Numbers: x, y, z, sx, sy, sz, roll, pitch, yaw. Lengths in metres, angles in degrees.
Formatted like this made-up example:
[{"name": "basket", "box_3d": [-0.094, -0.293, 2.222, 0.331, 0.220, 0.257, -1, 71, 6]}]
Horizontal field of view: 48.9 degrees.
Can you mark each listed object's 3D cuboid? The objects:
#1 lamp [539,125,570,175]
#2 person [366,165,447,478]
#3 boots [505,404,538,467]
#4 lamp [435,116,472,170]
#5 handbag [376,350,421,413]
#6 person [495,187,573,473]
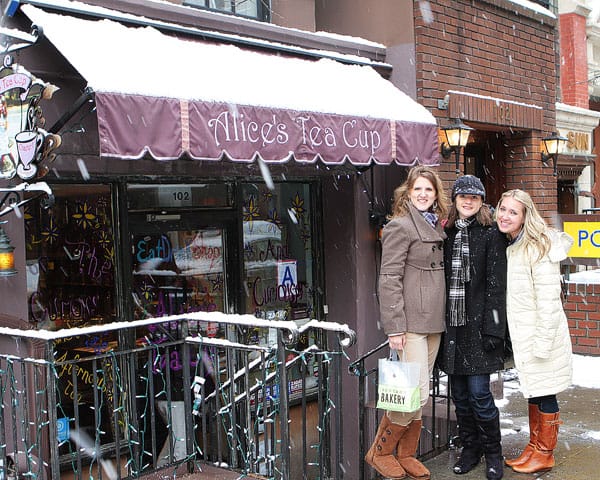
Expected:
[{"name": "lamp", "box_3d": [3.867, -1.295, 10.111, 0.308, 0.776, 0.349, -4, 5, -44]}, {"name": "person", "box_3d": [0.854, 0.636, 5.028, 0.737, 2.171, 0.471, -2, -1, -34]}, {"name": "boots", "box_3d": [1.739, 1.535, 5.034, 0.309, 0.570, 0.160, -3, 29, 8]}, {"name": "lamp", "box_3d": [2.022, -1.125, 8.443, 0.371, 0.892, 0.414, 1, 5, 0]}, {"name": "handbag", "box_3d": [0.708, 1.030, 4.805, 0.264, 0.470, 0.146, 1, 3, 34]}, {"name": "person", "box_3d": [1.792, 0.699, 4.997, 0.536, 2.151, 0.433, -2, -1, -4]}]
